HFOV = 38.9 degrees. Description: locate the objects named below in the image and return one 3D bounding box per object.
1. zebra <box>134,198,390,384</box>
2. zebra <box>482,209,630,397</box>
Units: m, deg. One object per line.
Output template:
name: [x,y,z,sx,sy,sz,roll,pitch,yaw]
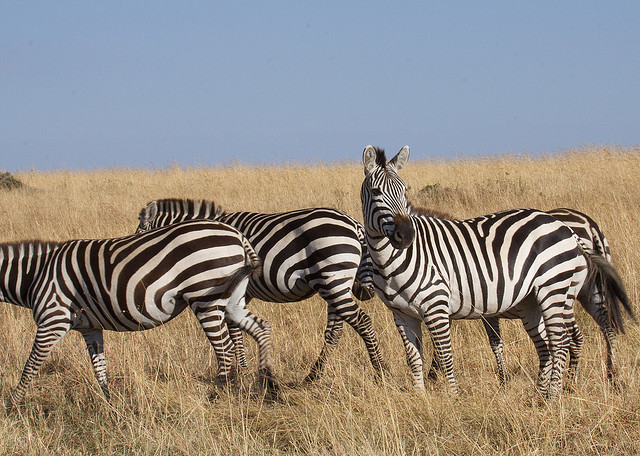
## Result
zebra: [-0.775,0.710,11.100,3.068,2.478,0.941,0,13,10]
zebra: [2.452,0.827,11.326,0.822,2.168,2.911,-19,10,-38]
